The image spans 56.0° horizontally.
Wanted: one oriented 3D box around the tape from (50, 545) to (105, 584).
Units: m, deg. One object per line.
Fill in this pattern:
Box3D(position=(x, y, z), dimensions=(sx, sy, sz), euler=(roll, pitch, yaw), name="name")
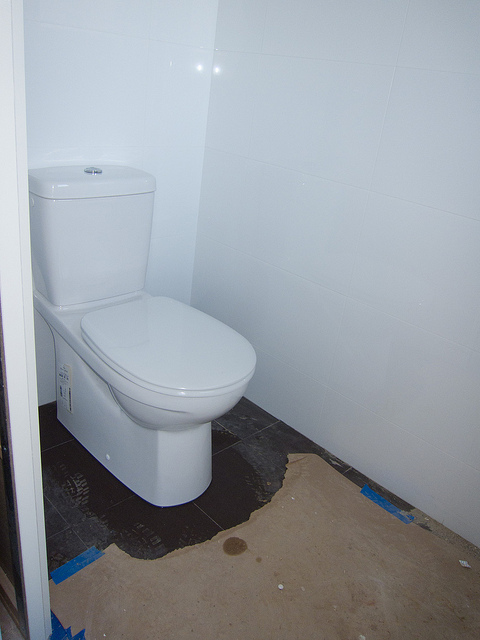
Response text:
Box3D(position=(-0.342, 0.512, 0.949), dimensions=(0.032, 0.010, 0.110), euler=(32, 26, 33), name="tape")
